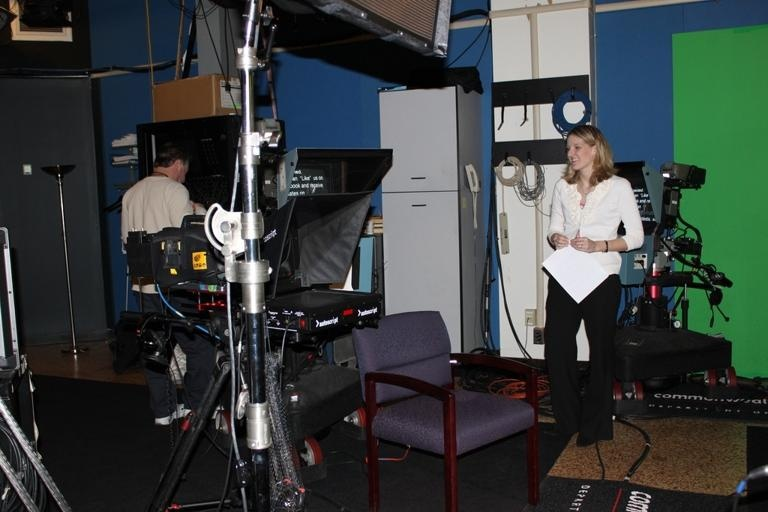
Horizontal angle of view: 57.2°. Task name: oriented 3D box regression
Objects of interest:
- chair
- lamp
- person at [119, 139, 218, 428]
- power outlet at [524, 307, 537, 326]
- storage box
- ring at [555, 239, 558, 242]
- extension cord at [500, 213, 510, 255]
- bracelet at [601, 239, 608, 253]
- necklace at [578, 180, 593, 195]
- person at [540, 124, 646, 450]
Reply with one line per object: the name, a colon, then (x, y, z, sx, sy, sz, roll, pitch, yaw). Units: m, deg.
chair: (0.567, 0.879, 5.248, 1.304, 1.617, 1.243, -1, 2, 44)
lamp: (-3.716, 0.014, 8.241, 0.321, 2.133, 0.986, -5, 7, -24)
person: (-1.760, 0.269, 5.749, 0.603, 2.333, 0.915, -5, 7, -23)
power outlet: (1.456, 0.615, 6.970, 0.130, 0.189, 0.142, 0, 2, 25)
storage box: (-1.830, -1.499, 6.783, 0.915, 0.401, 0.308, 0, 7, 17)
ring: (1.336, -0.113, 5.447, 0.006, 0.025, 0.025, 7, -1, -17)
extension cord: (1.193, -0.213, 6.987, 0.085, 0.412, 0.055, -2, 7, 0)
bracelet: (1.669, -0.059, 5.303, 0.043, 0.086, 0.015, -2, 7, -4)
necklace: (1.552, -0.515, 5.461, 0.046, 0.093, 0.125, 17, 9, -33)
person: (1.605, 0.227, 5.447, 0.721, 2.424, 0.405, 0, 7, 17)
